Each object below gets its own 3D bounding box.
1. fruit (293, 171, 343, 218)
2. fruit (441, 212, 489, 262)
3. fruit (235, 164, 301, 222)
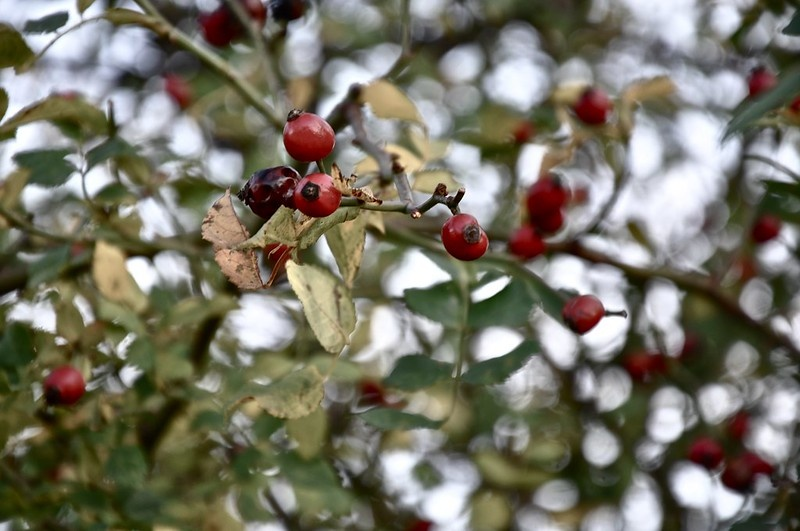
[{"bbox_3d":[-0.258,-0.203,3.069,0.138,0.141,0.159,12,72,-44],"label":"fruit"},{"bbox_3d":[0.188,-0.090,3.184,0.152,0.205,0.168,2,79,-17],"label":"fruit"},{"bbox_3d":[-0.402,-0.230,3.181,0.149,0.175,0.136,62,25,-25],"label":"fruit"}]
